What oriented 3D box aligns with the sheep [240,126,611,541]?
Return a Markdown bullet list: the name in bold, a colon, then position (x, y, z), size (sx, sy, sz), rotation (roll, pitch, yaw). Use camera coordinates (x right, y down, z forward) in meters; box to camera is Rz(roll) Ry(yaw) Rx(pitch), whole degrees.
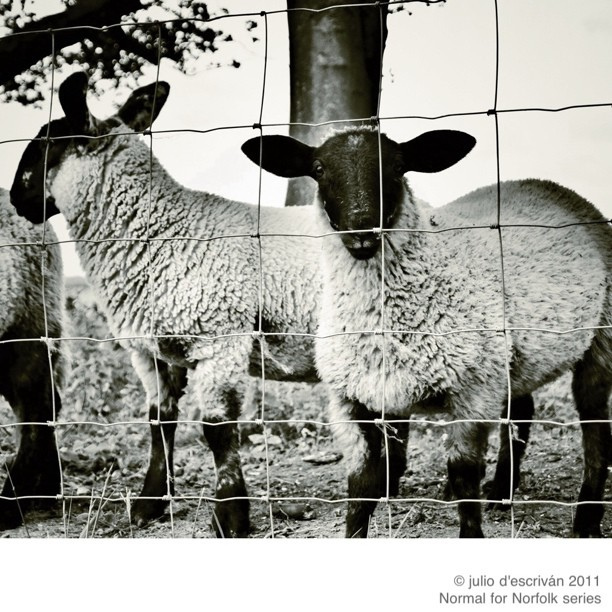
- **sheep**: position (0.657, 0.131, 5.774), size (1.567, 1.794, 0.928), rotation (6, -5, -40)
